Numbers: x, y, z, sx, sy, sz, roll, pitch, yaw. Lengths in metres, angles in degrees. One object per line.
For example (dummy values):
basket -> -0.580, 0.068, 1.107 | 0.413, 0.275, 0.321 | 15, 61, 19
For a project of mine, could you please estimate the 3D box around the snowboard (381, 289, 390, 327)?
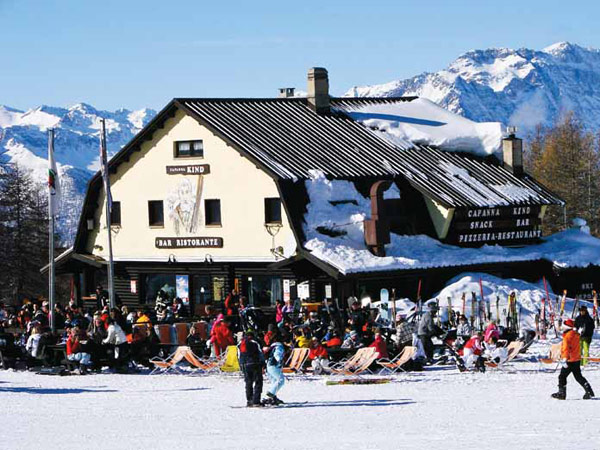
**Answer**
snowboard -> 3.891, 3.525, 68.576 | 0.310, 1.498, 0.222 | -6, -30, 12

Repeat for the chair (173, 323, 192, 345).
chair -> -5.244, 4.822, 65.401 | 0.761, 1.199, 0.757 | 2, -3, -42

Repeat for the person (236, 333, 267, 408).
person -> -1.825, 5.425, 55.442 | 0.900, 2.720, 0.723 | -1, 13, 4

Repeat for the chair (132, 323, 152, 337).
chair -> -6.892, 4.374, 64.576 | 0.458, 0.664, 0.853 | -4, 6, -29

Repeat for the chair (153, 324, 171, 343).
chair -> -6.011, 4.790, 65.239 | 0.655, 0.994, 0.711 | 1, 5, 5
